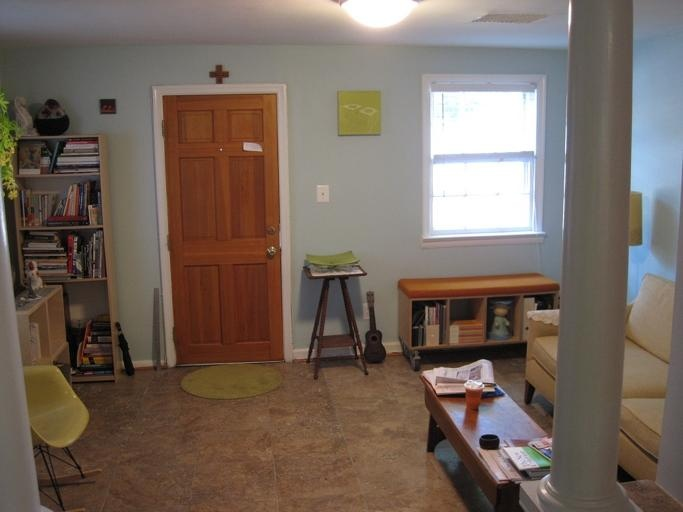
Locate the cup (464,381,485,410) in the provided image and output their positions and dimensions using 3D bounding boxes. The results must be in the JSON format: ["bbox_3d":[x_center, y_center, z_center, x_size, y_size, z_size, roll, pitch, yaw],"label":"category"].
[{"bbox_3d":[0.779,0.829,3.314,0.129,0.158,0.135,1,3,0],"label":"cup"}]

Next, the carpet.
[{"bbox_3d":[-0.925,1.050,4.664,0.837,0.059,0.683,-3,9,-5],"label":"carpet"}]

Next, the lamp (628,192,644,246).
[{"bbox_3d":[2.476,-0.308,4.668,0.085,0.441,0.189,4,11,31],"label":"lamp"}]
